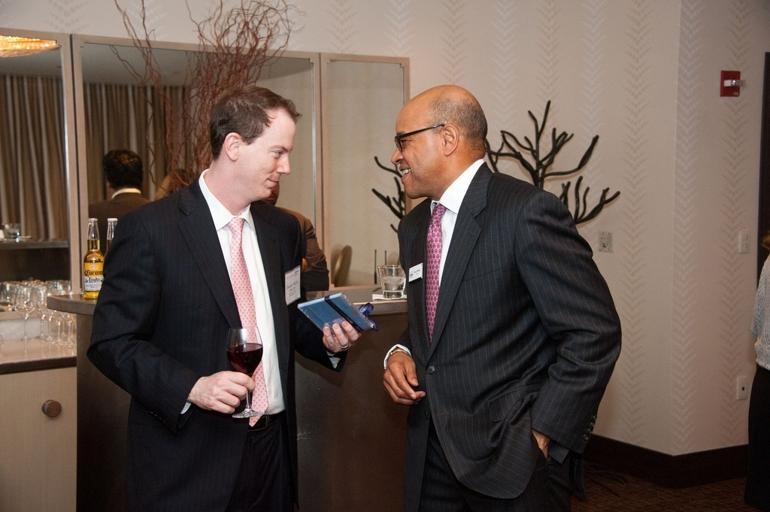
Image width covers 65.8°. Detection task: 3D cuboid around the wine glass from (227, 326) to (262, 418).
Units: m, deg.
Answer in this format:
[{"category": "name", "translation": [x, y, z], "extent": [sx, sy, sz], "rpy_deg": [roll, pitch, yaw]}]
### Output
[{"category": "wine glass", "translation": [-0.568, 0.477, 2.411], "extent": [0.131, 0.403, 0.201], "rpy_deg": [-2, 3, -14]}]

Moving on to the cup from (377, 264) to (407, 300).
[{"category": "cup", "translation": [0.051, 0.168, 3.678], "extent": [0.178, 0.222, 0.207], "rpy_deg": [2, -2, -17]}]

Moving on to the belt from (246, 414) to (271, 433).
[{"category": "belt", "translation": [-0.539, 0.703, 2.505], "extent": [0.107, 0.062, 0.156], "rpy_deg": [0, 0, -7]}]

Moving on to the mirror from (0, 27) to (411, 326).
[{"category": "mirror", "translation": [-1.264, -0.570, 3.728], "extent": [2.053, 1.674, 0.046], "rpy_deg": [0, -2, -24]}]

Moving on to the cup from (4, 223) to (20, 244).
[{"category": "cup", "translation": [-2.601, -0.162, 4.157], "extent": [0.107, 0.140, 0.115], "rpy_deg": [1, -1, 0]}]
